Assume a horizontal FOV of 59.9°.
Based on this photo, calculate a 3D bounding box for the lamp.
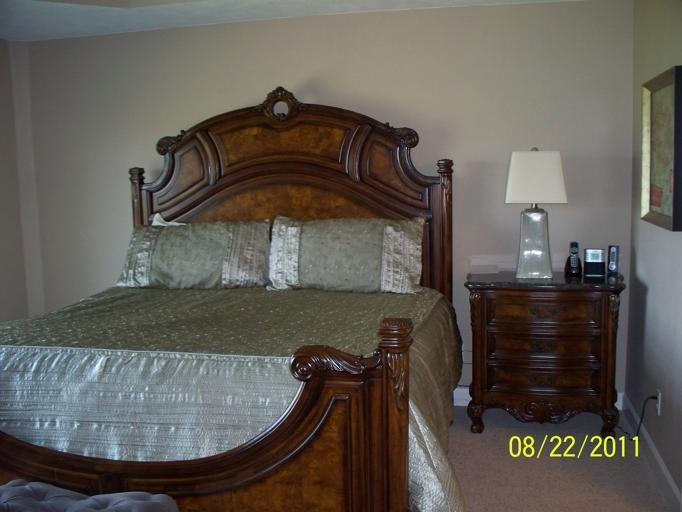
[{"bbox_3d":[1.175,-0.270,3.621,0.351,0.773,0.320,0,13,8],"label":"lamp"}]

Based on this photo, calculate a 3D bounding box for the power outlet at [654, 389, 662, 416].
[{"bbox_3d":[1.706,0.792,3.198,0.016,0.163,0.161,-1,1,18],"label":"power outlet"}]
